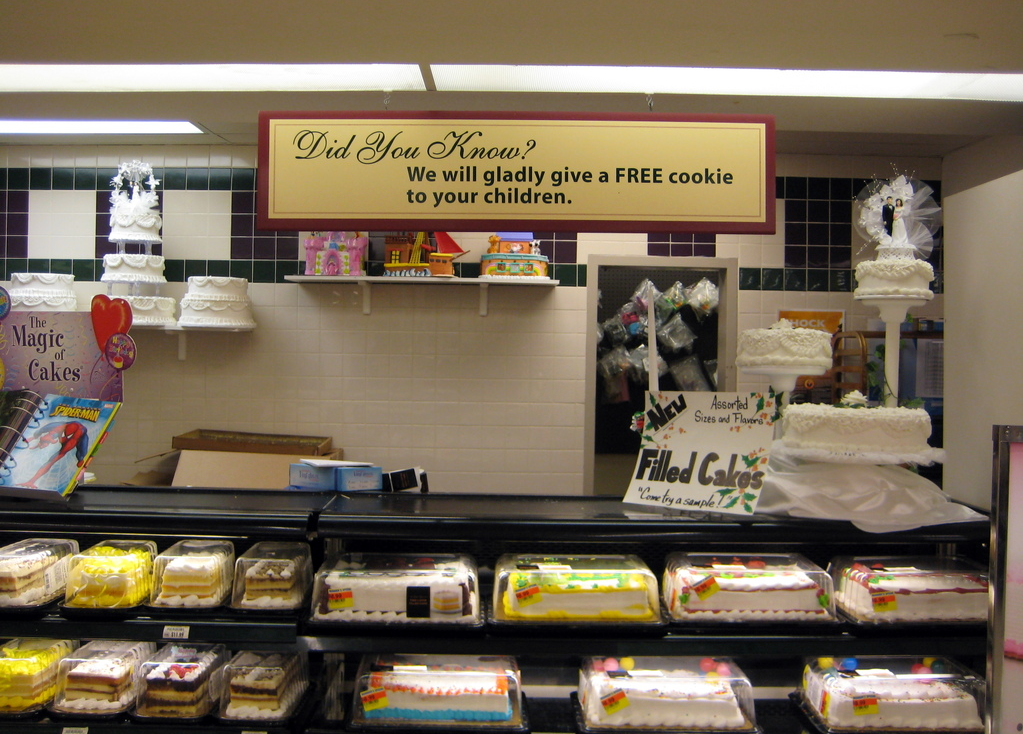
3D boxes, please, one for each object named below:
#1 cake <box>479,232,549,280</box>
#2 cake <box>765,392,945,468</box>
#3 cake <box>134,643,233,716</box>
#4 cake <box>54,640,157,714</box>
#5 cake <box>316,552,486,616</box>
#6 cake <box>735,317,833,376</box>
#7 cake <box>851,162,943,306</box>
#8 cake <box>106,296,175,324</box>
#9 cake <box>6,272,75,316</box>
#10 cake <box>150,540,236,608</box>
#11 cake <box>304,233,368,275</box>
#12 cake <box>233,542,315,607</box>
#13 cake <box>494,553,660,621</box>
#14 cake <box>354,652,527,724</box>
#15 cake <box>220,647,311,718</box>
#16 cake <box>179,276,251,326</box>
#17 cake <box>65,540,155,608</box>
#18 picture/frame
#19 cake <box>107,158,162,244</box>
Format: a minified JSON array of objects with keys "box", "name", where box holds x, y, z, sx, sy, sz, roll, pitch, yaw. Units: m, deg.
[{"box":[0.038,-0.702,5.837,0.336,0.230,0.334,1,4,13],"name":"cake"},{"box":[1.428,0.275,3.736,0.749,0.243,0.744,2,-2,-7],"name":"cake"},{"box":[-1.285,1.238,3.496,0.316,0.219,0.188,1,7,1],"name":"cake"},{"box":[-1.607,1.253,3.613,0.267,0.146,0.421,2,-3,0],"name":"cake"},{"box":[-0.437,0.859,3.488,0.623,0.186,0.221,1,7,-1],"name":"cake"},{"box":[1.092,-0.104,3.644,0.283,0.153,0.286,-3,7,44],"name":"cake"},{"box":[1.664,-0.547,3.858,0.329,0.547,0.462,4,7,25],"name":"cake"},{"box":[-2.274,-0.348,5.697,0.274,0.185,0.219,-2,7,-21],"name":"cake"},{"box":[-2.901,-0.459,5.546,0.425,0.256,0.416,0,0,-15],"name":"cake"},{"box":[-1.256,0.826,3.622,0.336,0.179,0.392,0,5,-14],"name":"cake"},{"box":[-1.130,-0.714,5.822,0.508,0.343,0.257,-1,-5,0],"name":"cake"},{"box":[-0.930,0.822,3.522,0.288,0.209,0.218,1,7,1],"name":"cake"},{"box":[0.259,0.873,3.509,0.647,0.192,0.253,1,7,0],"name":"cake"},{"box":[-0.288,1.209,3.471,0.438,0.123,0.302,2,-2,3],"name":"cake"},{"box":[-0.950,1.237,3.460,0.272,0.180,0.362,1,0,0],"name":"cake"},{"box":[-1.862,-0.391,5.773,0.359,0.202,0.353,1,0,-2],"name":"cake"},{"box":[-1.561,0.822,3.513,0.295,0.204,0.221,1,7,-1],"name":"cake"},{"box":[1.013,0.046,6.179,1.067,1.619,0.247,0,6,-6],"name":"picture/frame"},{"box":[-2.459,-1.080,5.885,0.332,0.575,0.569,-2,7,-24],"name":"cake"}]
